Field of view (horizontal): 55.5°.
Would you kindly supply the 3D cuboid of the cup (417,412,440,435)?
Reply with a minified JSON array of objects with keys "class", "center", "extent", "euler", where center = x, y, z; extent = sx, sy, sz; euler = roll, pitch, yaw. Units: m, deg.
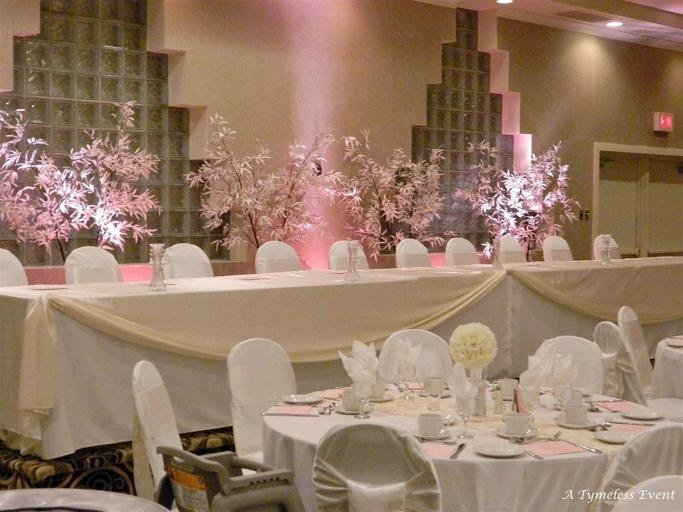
[{"class":"cup","center":[0.367,0.694,2.700],"extent":[0.064,0.068,0.091],"euler":[-8,-18,15]}]

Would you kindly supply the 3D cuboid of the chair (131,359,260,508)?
[{"class":"chair","center":[-0.715,0.760,3.154],"extent":[0.478,0.946,0.578],"euler":[-3,0,-14]}]

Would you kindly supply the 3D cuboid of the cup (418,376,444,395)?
[{"class":"cup","center":[0.435,0.617,3.111],"extent":[0.095,0.106,0.100],"euler":[-1,2,0]}]

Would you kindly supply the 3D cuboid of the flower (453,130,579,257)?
[{"class":"flower","center":[2.682,-0.894,9.681],"extent":[2.152,1.841,0.675],"euler":[2,-3,-36]}]

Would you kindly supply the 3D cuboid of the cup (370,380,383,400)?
[{"class":"cup","center":[0.183,0.667,3.214],"extent":[0.070,0.073,0.082],"euler":[2,-9,-28]}]

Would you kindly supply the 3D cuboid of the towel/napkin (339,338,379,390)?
[{"class":"towel/napkin","center":[0.086,0.533,3.077],"extent":[0.184,0.121,0.211],"euler":[0,-31,-10]}]

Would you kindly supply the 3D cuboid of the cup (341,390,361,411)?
[{"class":"cup","center":[0.048,0.679,3.067],"extent":[0.082,0.082,0.087],"euler":[0,-3,0]}]
